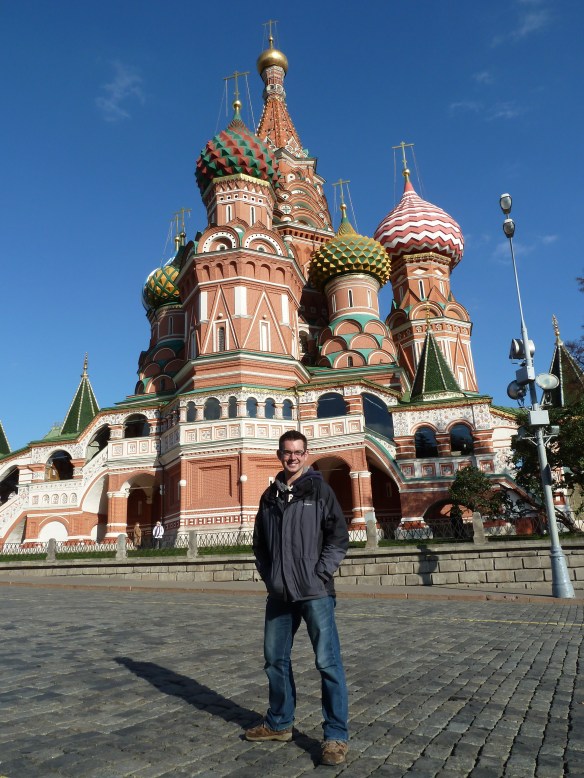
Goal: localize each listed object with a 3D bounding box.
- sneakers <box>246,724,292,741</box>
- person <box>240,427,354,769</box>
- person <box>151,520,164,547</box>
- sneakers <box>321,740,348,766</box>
[{"bbox_3d":[-0.128,1.781,3.217,0.253,0.105,0.086,6,-32,0],"label":"sneakers"},{"bbox_3d":[0.045,1.030,3.323,0.685,1.628,0.462,-16,-17,43],"label":"person"},{"bbox_3d":[-5.716,6.257,26.429,0.401,1.046,2.094,-2,-12,-11],"label":"person"},{"bbox_3d":[0.195,1.696,2.885,0.106,0.089,0.190,-5,-12,7],"label":"sneakers"}]
